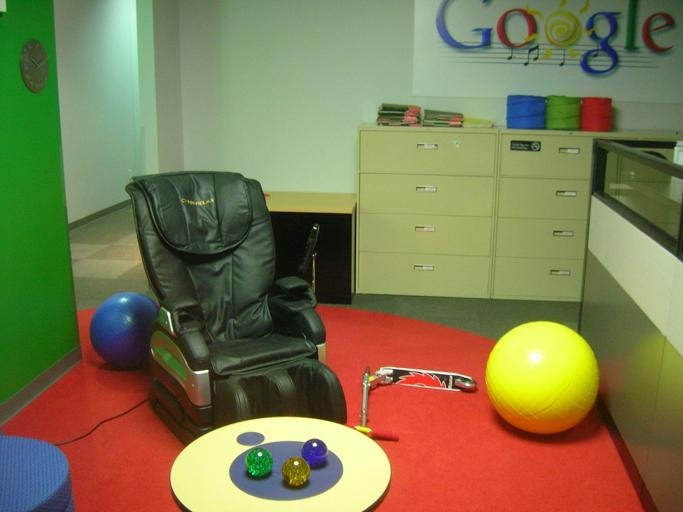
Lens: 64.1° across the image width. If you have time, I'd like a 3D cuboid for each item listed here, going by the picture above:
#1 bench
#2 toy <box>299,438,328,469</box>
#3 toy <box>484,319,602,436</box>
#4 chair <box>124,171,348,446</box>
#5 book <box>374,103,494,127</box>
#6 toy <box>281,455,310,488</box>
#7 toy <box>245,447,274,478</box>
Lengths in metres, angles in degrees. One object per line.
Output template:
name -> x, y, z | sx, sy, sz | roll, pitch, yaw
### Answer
bench -> -0.314, 0.035, 5.285 | 0.953, 1.007, 0.671 | -5, 11, 1
toy -> -0.113, 0.823, 2.257 | 0.102, 0.112, 0.102 | 7, 14, 8
toy -> 1.193, 0.719, 3.278 | 0.622, 0.674, 0.605 | -2, 4, -24
chair -> -0.634, 0.283, 3.263 | 0.910, 1.447, 1.504 | -9, 13, -40
book -> 0.832, -1.315, 5.089 | 0.994, 0.191, 0.309 | 2, 20, 4
toy -> -0.183, 0.867, 2.186 | 0.118, 0.096, 0.098 | -2, 20, -6
toy -> -0.335, 0.837, 2.248 | 0.103, 0.110, 0.109 | 2, 7, 9
